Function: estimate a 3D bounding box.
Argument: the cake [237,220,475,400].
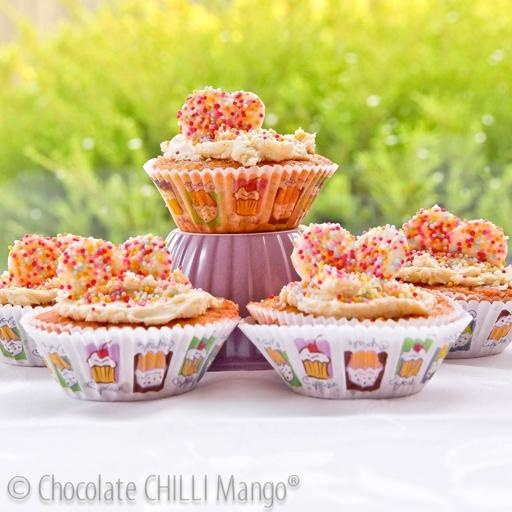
[{"bbox_3d":[0.243,0.107,1.637,0.684,0.319,0.490,5,16,-5],"label":"cake"}]

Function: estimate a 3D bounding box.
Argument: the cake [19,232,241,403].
[{"bbox_3d":[-0.348,0.116,1.615,0.602,0.293,0.458,6,20,-5],"label":"cake"}]

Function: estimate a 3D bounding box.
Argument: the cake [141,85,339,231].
[{"bbox_3d":[-0.093,-0.330,1.945,0.642,0.322,0.547,19,29,20],"label":"cake"}]
